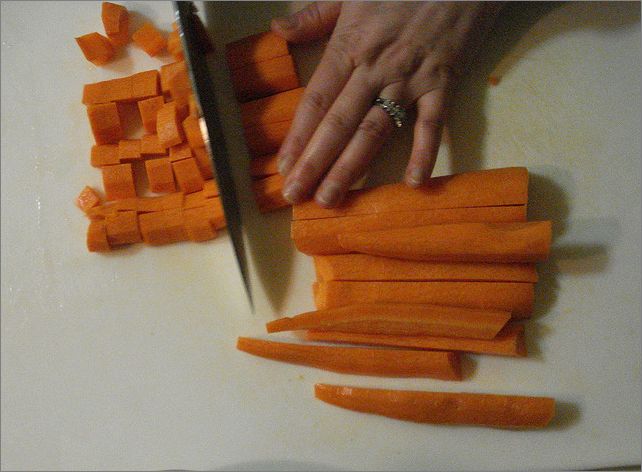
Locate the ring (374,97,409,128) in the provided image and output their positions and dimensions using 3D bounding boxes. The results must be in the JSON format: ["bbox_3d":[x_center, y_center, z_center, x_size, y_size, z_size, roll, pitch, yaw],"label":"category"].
[{"bbox_3d":[0.261,-0.446,2.111,0.129,0.087,0.035,32,-67,-2],"label":"ring"}]
